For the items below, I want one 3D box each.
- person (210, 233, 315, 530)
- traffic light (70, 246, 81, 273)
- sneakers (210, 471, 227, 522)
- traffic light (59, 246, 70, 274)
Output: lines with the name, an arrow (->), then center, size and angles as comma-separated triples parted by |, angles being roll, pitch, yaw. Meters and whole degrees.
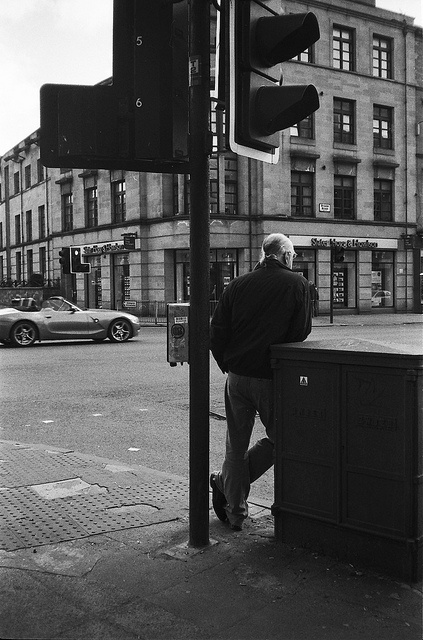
person -> 0.243, 0.332, 4.809 | 0.598, 1.262, 0.470 | 0, 0, 12
traffic light -> -3.994, -1.775, 25.697 | 0.277, 0.682, 0.703 | -1, 0, -31
sneakers -> 0.032, 1.004, 4.982 | 0.090, 0.305, 0.076 | -7, 2, -31
traffic light -> -4.384, -1.814, 26.158 | 0.283, 0.721, 1.009 | -1, 1, -11
